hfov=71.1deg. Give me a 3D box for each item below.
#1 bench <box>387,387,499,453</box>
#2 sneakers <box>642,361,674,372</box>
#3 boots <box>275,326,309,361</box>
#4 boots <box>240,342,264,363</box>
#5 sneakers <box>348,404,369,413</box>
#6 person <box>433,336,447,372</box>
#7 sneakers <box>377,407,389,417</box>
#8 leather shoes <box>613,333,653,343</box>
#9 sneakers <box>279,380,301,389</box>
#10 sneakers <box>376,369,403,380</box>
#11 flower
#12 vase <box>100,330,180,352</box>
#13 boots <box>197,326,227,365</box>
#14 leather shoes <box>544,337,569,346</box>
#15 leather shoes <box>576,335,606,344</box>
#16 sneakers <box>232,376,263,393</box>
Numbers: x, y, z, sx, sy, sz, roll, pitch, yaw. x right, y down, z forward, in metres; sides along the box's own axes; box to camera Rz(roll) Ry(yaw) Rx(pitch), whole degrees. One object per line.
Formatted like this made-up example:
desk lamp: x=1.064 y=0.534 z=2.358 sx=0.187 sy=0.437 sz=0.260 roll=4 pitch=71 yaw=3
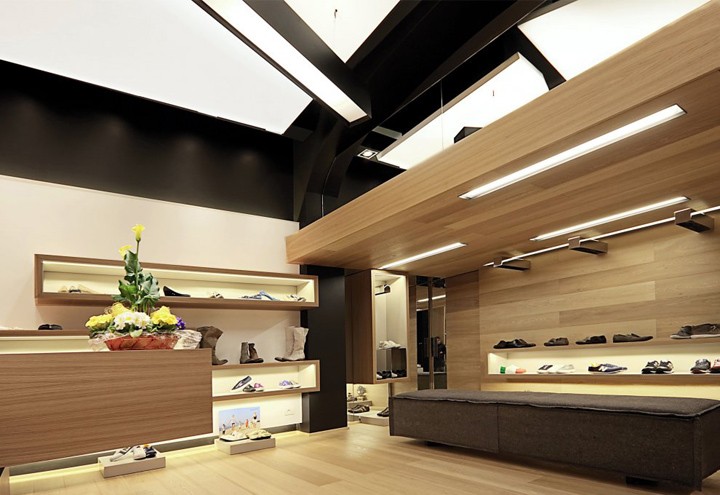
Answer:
bench: x=0.936 y=1.886 z=5.461 sx=0.789 sy=0.334 sz=0.973 roll=11 pitch=-15 yaw=-43
sneakers: x=3.104 y=1.246 z=5.225 sx=0.236 sy=0.073 sz=0.168 roll=14 pitch=-19 yaw=-42
boots: x=-0.872 y=1.307 z=6.763 sx=0.519 sy=0.417 sz=0.407 roll=6 pitch=-10 yaw=-34
boots: x=-1.438 y=1.362 z=6.543 sx=0.315 sy=0.253 sz=0.264 roll=-18 pitch=-22 yaw=37
sneakers: x=-0.012 y=2.530 z=7.906 sx=0.246 sy=0.076 sz=0.127 roll=16 pitch=-35 yaw=-28
person: x=1.335 y=1.668 z=8.057 sx=0.184 sy=0.692 sz=0.193 roll=-19 pitch=-54 yaw=24
sneakers: x=0.360 y=2.472 z=7.546 sx=0.135 sy=0.116 sz=0.307 roll=-2 pitch=-18 yaw=2
leather shoes: x=2.984 y=0.999 z=5.529 sx=0.399 sy=0.109 sz=0.138 roll=-7 pitch=-18 yaw=28
sneakers: x=-0.936 y=1.810 z=6.655 sx=0.140 sy=0.057 sz=0.181 roll=6 pitch=-9 yaw=-36
sneakers: x=0.447 y=1.856 z=7.354 sx=0.538 sy=0.130 sz=0.087 roll=4 pitch=-11 yaw=-38
flower: x=-1.702 y=0.281 z=3.894 sx=0.657 sy=0.961 sz=0.589 roll=-3 pitch=-9 yaw=0
vase: x=-1.566 y=0.672 z=3.614 sx=0.495 sy=0.117 sz=0.173 roll=1 pitch=-9 yaw=-22
boots: x=-1.833 y=1.216 z=6.309 sx=0.291 sy=0.470 sz=0.536 roll=-4 pitch=-9 yaw=10
leather shoes: x=2.419 y=1.160 z=6.183 sx=0.225 sy=0.065 sz=0.134 roll=-5 pitch=-11 yaw=40
leather shoes: x=2.699 y=1.077 z=5.882 sx=0.323 sy=0.099 sz=0.115 roll=-4 pitch=-16 yaw=34
sneakers: x=-1.433 y=1.741 z=6.370 sx=0.444 sy=0.150 sz=0.158 roll=10 pitch=-17 yaw=-42
